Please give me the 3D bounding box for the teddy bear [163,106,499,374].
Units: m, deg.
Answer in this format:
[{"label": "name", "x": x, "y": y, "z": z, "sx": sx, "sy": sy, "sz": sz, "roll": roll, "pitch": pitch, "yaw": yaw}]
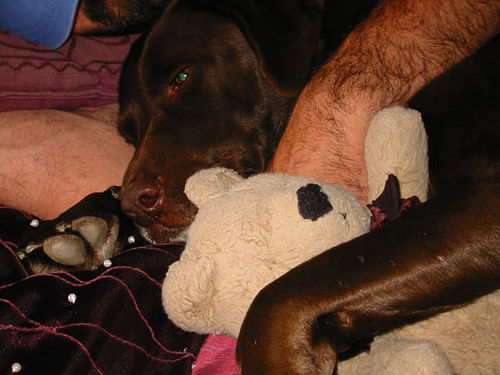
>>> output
[{"label": "teddy bear", "x": 0.258, "y": 0.190, "z": 1.654, "sx": 0.799, "sy": 0.659, "sz": 0.394, "roll": 14, "pitch": -16, "yaw": 23}]
